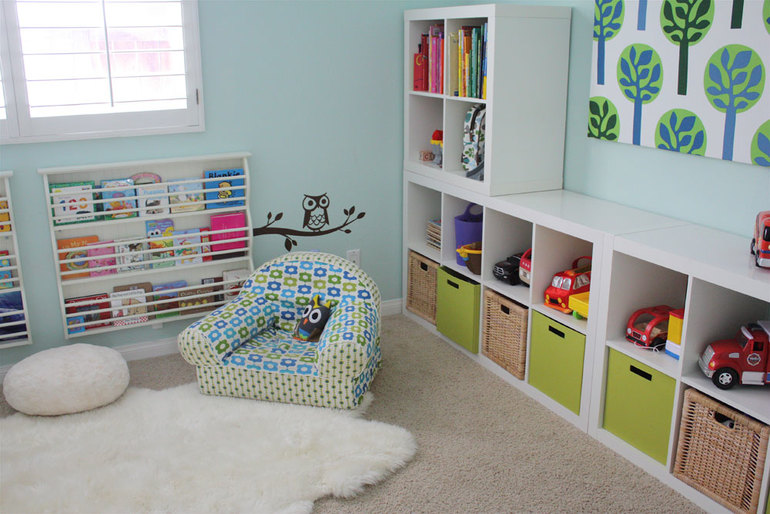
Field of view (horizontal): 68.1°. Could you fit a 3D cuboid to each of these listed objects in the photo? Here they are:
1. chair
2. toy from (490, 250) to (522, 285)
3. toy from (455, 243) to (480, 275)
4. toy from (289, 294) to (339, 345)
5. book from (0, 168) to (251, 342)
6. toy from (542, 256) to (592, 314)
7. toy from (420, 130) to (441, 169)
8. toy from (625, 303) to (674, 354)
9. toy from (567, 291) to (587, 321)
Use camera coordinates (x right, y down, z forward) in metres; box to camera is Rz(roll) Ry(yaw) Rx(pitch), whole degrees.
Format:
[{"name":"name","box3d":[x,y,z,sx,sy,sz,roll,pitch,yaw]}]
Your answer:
[{"name":"chair","box3d":[-0.513,0.381,3.521,1.112,0.680,0.864,5,25,12]},{"name":"toy","box3d":[0.755,0.067,3.523,0.208,0.095,0.118,-23,31,-34]},{"name":"toy","box3d":[0.546,-0.004,3.706,0.188,0.154,0.172,-8,16,-21]},{"name":"toy","box3d":[-0.444,0.390,3.529,0.206,0.288,0.147,26,6,36]},{"name":"book","box3d":[-1.680,-0.034,3.572,1.080,0.786,0.142,-7,11,-25]},{"name":"toy","box3d":[1.095,0.131,3.266,0.347,0.242,0.232,-16,21,-32]},{"name":"toy","box3d":[0.352,-0.786,4.094,0.193,0.206,0.125,3,3,-12]},{"name":"toy","box3d":[1.401,0.362,2.935,0.267,0.158,0.226,-4,15,-16]},{"name":"toy","box3d":[1.056,0.262,3.114,0.093,0.070,0.146,17,27,39]}]
